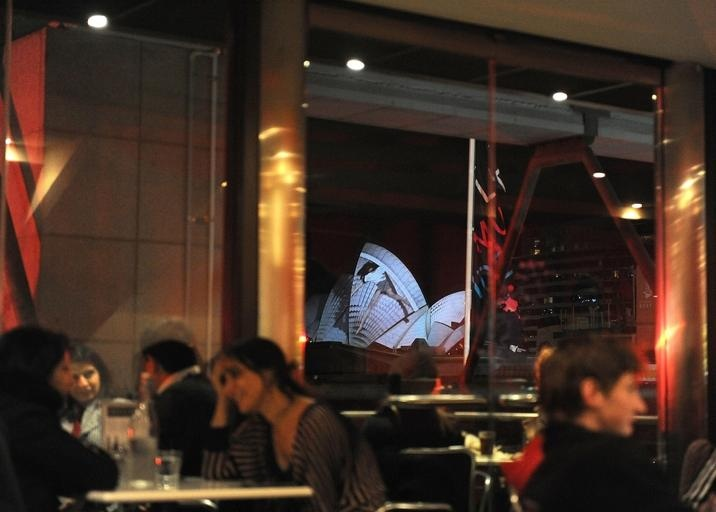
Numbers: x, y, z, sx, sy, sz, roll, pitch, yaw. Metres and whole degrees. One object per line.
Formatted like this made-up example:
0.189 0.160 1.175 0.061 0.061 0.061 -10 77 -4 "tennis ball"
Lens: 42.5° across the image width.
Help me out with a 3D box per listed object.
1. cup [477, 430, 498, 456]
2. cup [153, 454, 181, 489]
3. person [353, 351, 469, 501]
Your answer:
0.682 0.990 4.899 0.105 0.165 0.108 0 -4 0 "cup"
-0.849 0.962 4.111 0.105 0.154 0.101 2 2 0 "cup"
0.274 0.924 4.992 0.678 1.012 0.693 1 -4 1 "person"
